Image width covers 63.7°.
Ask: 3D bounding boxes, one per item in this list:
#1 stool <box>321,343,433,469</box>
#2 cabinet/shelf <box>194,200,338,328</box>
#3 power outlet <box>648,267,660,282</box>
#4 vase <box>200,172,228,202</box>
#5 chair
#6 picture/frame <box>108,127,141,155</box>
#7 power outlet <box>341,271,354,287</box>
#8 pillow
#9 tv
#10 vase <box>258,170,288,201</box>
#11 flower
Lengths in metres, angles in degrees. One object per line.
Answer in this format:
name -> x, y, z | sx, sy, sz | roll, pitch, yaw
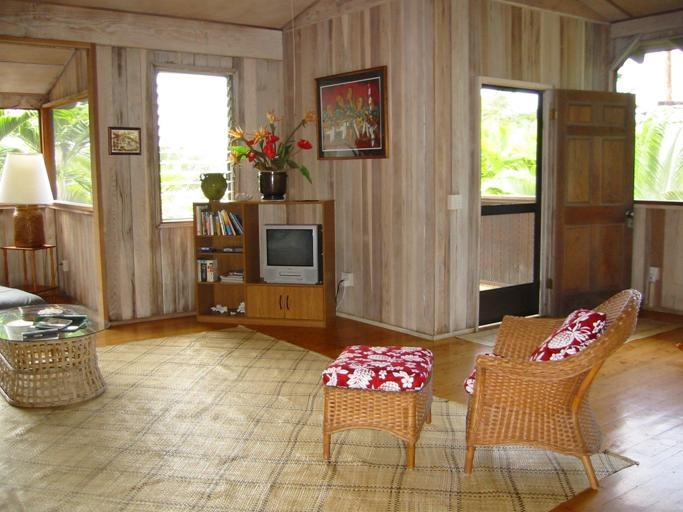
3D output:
stool -> 0.291, 0.868, 3.317 | 0.798, 0.454, 0.661 | 0, 8, 14
cabinet/shelf -> -0.820, 0.113, 5.839 | 1.918, 1.191, 0.518 | 1, 4, 13
power outlet -> 3.480, 0.199, 6.114 | 0.041, 0.170, 0.118 | -13, 19, -37
vase -> -1.368, -0.737, 5.859 | 0.396, 0.289, 0.292 | -5, 14, -18
chair -> 1.073, 0.680, 3.427 | 1.352, 1.102, 1.141 | -1, 4, 14
picture/frame -> -2.272, -1.199, 5.694 | 0.412, 0.277, 0.028 | -2, 5, -33
power outlet -> 0.064, 0.246, 6.010 | 0.107, 0.149, 0.203 | -6, 8, -42
pillow -> 1.199, 0.431, 2.901 | 0.347, 0.260, 0.457 | 5, 13, 24
tv -> -0.503, -0.026, 5.690 | 0.898, 0.593, 0.415 | 0, 0, 11
vase -> -0.664, -0.752, 5.823 | 0.427, 0.260, 0.307 | 1, 9, 6
flower -> -0.789, -1.140, 5.996 | 1.181, 0.560, 1.070 | 2, 3, 28
